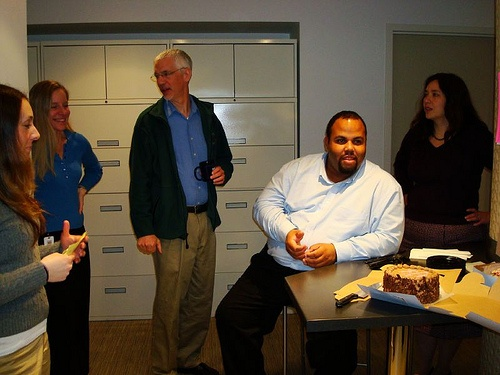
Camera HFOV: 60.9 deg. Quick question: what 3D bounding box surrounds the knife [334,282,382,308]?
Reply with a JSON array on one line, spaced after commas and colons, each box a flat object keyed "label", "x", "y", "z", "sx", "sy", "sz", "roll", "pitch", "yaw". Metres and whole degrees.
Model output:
[{"label": "knife", "x": 0.445, "y": 0.462, "z": 1.804, "sx": 0.078, "sy": 0.013, "sz": 0.246, "roll": 10, "pitch": 12, "yaw": 35}]

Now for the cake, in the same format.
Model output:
[{"label": "cake", "x": 0.688, "y": 0.414, "z": 1.812, "sx": 0.228, "sy": 0.112, "sz": 0.235, "roll": 3, "pitch": 8, "yaw": 24}]

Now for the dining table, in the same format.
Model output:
[{"label": "dining table", "x": 0.582, "y": 0.628, "z": 1.986, "sx": 0.800, "sy": 0.513, "sz": 0.569, "roll": -1, "pitch": 7, "yaw": -3}]
